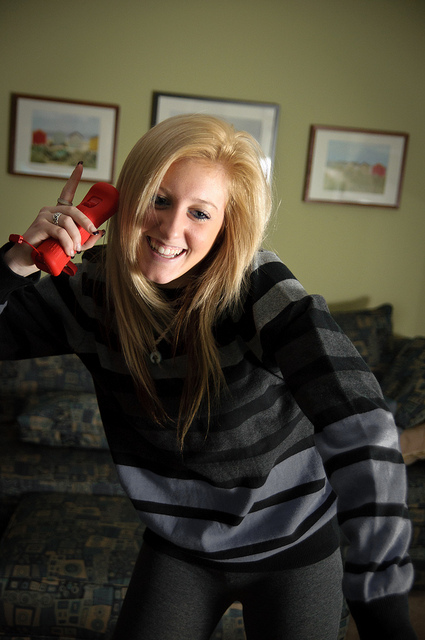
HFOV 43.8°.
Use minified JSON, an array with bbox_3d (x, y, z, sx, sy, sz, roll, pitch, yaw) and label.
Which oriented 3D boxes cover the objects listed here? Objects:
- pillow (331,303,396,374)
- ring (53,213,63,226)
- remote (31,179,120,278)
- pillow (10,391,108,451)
[{"bbox_3d":[0.774,0.087,2.872,0.387,0.447,0.131,2,-25,-17],"label":"pillow"},{"bbox_3d":[-0.242,-0.159,0.829,0.005,0.016,0.016,13,-26,-1],"label":"ring"},{"bbox_3d":[-0.214,-0.155,0.860,0.071,0.183,0.044,26,-26,19],"label":"remote"},{"bbox_3d":[-0.642,0.412,2.196,0.333,0.188,0.446,2,12,-27],"label":"pillow"}]
